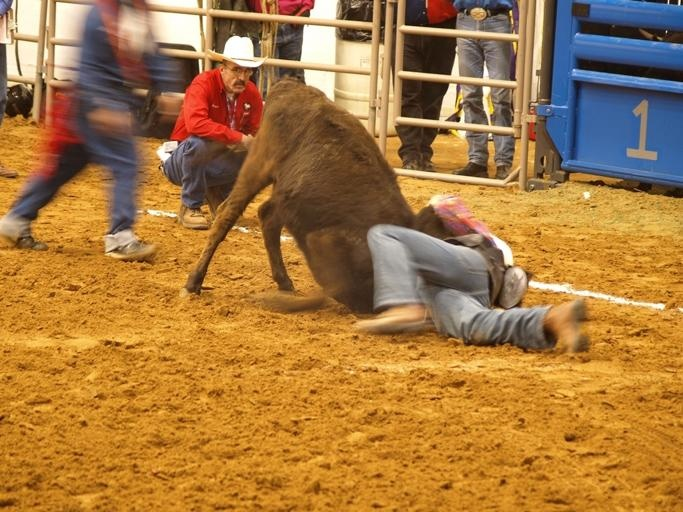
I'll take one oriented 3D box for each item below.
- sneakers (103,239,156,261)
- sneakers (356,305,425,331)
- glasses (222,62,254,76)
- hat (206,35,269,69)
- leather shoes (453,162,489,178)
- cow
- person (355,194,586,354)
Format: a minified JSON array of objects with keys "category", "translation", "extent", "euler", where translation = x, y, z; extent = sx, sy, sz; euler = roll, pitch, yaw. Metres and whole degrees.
[{"category":"sneakers","translation":[-1.486,-0.048,5.387],"extent":[0.442,0.152,0.134],"euler":[-2,25,-3]},{"category":"sneakers","translation":[0.283,0.348,3.996],"extent":[0.302,0.084,0.192],"euler":[-4,-3,-6]},{"category":"glasses","translation":[-0.852,-1.490,5.968],"extent":[0.143,0.057,0.162],"euler":[4,1,-18]},{"category":"hat","translation":[-0.809,-1.610,5.977],"extent":[0.489,0.194,0.502],"euler":[0,-4,-20]},{"category":"leather shoes","translation":[1.445,-0.995,8.544],"extent":[0.495,0.160,0.158],"euler":[3,4,-5]},{"category":"cow","translation":[-0.120,-0.403,4.674],"extent":[1.425,1.453,0.501],"euler":[9,7,20]},{"category":"person","translation":[0.715,0.031,4.206],"extent":[1.627,0.581,0.760],"euler":[18,25,22]}]
